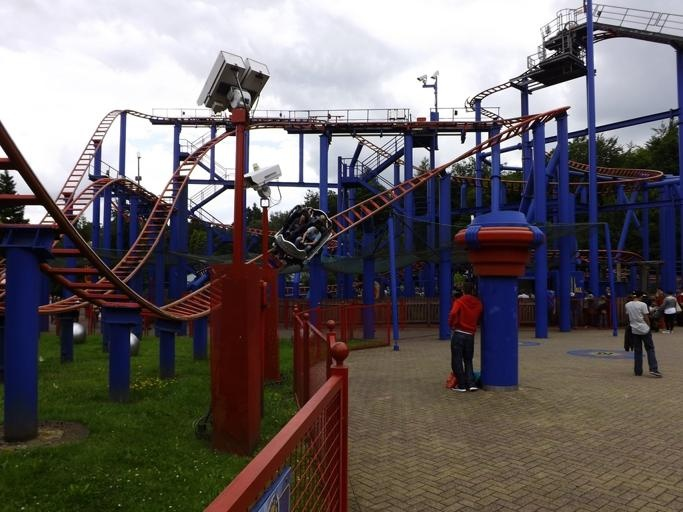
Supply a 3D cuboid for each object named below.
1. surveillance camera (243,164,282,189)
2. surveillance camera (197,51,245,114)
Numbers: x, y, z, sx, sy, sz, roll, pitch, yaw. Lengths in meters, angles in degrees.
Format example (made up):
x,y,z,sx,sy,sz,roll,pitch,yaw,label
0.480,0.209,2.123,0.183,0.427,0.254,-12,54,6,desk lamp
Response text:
x,y,z,sx,sy,sz,roll,pitch,yaw,label
-1.350,-1.375,11.819,0.616,0.388,0.382,0,4,-13,surveillance camera
-1.862,-2.639,10.430,0.544,0.342,0.857,-9,-40,-53,surveillance camera
